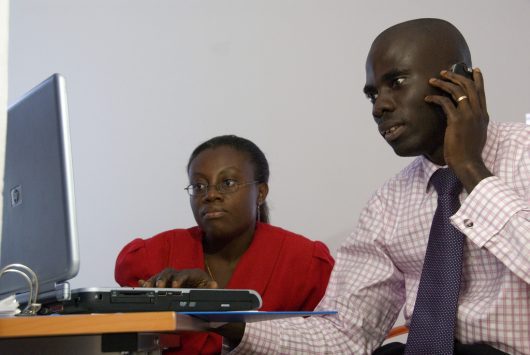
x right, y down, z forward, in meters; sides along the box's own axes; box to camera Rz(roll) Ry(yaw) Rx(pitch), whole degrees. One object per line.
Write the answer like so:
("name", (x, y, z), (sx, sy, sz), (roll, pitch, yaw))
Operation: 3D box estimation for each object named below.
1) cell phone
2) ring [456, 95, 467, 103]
("cell phone", (0.622, -0.287, 1.747), (0.119, 0.200, 0.059), (-8, -19, 24))
("ring", (0.621, -0.251, 1.697), (0.024, 0.007, 0.025), (-39, -5, -4))
